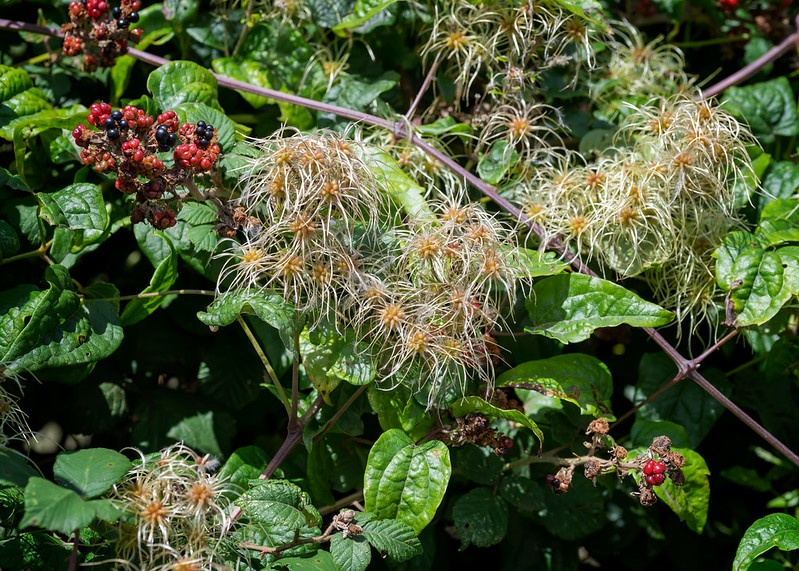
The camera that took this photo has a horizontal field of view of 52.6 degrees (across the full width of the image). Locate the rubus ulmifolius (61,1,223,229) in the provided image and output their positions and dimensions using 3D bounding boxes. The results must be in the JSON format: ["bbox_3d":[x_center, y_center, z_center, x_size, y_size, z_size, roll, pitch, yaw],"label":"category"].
[{"bbox_3d":[-0.735,-0.463,2.325,0.404,0.543,0.642,7,29,-35],"label":"rubus ulmifolius"}]
